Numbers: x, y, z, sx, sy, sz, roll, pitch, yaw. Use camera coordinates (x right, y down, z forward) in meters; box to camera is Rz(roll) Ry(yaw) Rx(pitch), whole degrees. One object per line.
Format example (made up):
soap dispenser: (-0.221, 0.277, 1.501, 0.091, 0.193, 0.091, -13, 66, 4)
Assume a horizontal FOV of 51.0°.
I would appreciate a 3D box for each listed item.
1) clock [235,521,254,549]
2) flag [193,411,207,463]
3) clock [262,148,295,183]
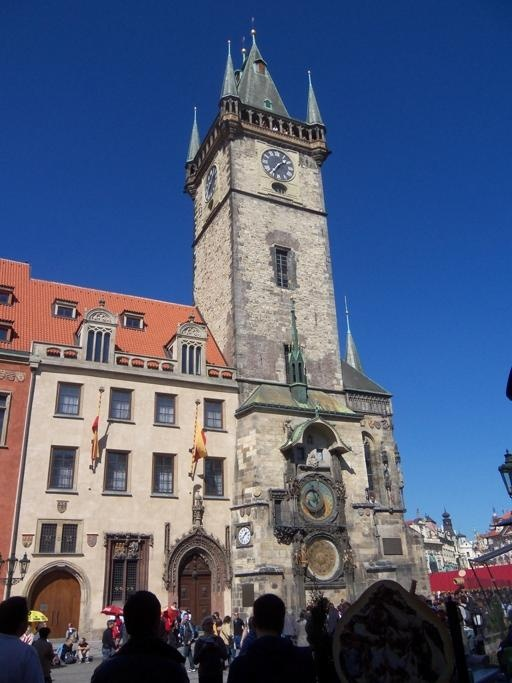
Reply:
clock: (-0.463, 8.572, 23.851, 0.129, 1.296, 1.185, 12, -20, -33)
flag: (-2.672, 4.444, 25.370, 0.668, 2.368, 1.294, 0, -27, -7)
clock: (1.364, -11.254, 34.516, 2.078, 2.161, 0.238, 29, -36, -20)
